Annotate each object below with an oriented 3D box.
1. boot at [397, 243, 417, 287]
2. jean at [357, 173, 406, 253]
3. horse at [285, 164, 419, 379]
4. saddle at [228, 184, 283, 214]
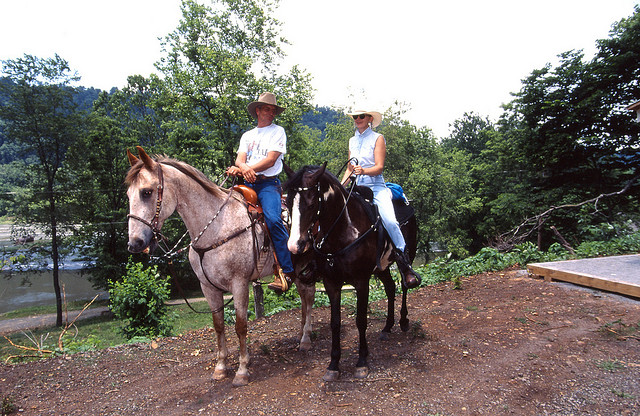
[{"bbox_3d":[2.417,1.625,12.083,0.476,1.115,0.626,-5,0,5],"label":"boot"},{"bbox_3d":[1.755,0.145,11.979,1.021,2.081,0.581,-5,0,11],"label":"jean"},{"bbox_3d":[0.852,1.582,11.816,3.977,5.475,1.559,-5,0,-28],"label":"horse"},{"bbox_3d":[-1.780,-0.528,12.355,1.317,0.784,1.017,-28,22,1],"label":"saddle"}]
